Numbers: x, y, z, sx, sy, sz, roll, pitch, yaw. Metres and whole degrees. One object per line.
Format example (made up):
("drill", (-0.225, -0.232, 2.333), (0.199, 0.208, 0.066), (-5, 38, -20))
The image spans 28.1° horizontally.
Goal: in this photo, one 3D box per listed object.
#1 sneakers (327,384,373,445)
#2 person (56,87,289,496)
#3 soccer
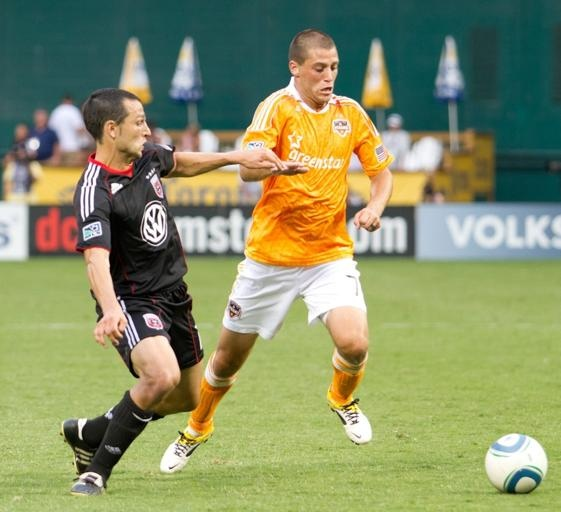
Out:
("sneakers", (0.444, 0.974, 6.628), (0.139, 0.408, 0.172), (-27, -19, -16))
("person", (-0.767, 0.174, 5.988), (0.823, 2.114, 0.579), (-4, 7, -29))
("soccer", (1.246, 1.127, 5.974), (0.303, 0.355, 0.340), (-6, 19, 6))
